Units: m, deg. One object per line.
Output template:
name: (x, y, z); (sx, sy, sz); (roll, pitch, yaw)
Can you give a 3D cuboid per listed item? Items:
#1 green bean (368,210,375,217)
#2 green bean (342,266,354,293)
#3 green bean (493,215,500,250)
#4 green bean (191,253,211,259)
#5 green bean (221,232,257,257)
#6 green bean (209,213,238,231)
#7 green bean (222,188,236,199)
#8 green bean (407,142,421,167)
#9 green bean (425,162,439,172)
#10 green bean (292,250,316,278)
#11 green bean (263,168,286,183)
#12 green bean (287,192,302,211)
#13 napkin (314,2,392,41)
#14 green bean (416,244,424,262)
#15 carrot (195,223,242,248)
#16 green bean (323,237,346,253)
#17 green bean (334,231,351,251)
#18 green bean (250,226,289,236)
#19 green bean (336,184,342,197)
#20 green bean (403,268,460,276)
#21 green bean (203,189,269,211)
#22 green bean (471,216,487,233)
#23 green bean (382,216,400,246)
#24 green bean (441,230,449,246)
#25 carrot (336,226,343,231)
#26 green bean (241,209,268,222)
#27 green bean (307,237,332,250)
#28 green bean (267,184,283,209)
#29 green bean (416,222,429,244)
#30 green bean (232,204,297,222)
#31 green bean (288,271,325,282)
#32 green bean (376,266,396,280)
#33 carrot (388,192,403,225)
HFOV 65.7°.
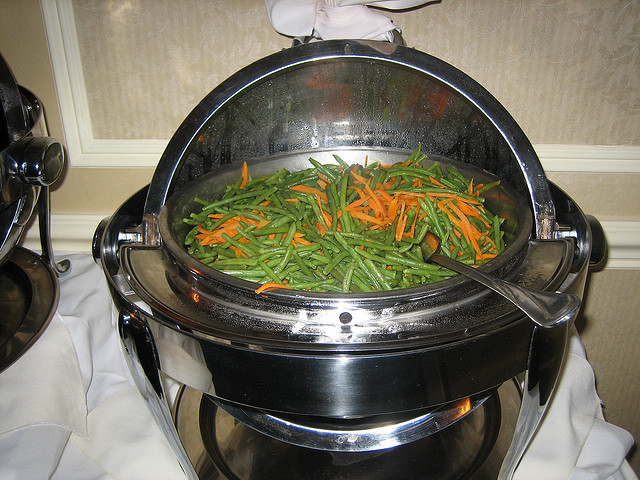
green bean: (0.106, -0.053, 1.007); (0.013, 0.011, 0.004); (-14, -6, -40)
green bean: (0.049, 0.069, 0.865); (0.012, 0.012, 0.052); (35, 47, -16)
green bean: (0.349, -0.015, 0.980); (0.010, 0.070, 0.006); (-9, -17, 27)
green bean: (-0.231, 0.030, 0.963); (0.037, 0.007, 0.024); (-4, 19, -13)
green bean: (-0.158, 0.011, 0.957); (0.060, 0.013, 0.014); (36, 1, 25)
green bean: (-0.196, -0.040, 1.004); (0.013, 0.020, 0.069); (38, 53, 17)
green bean: (-0.196, -0.098, 1.061); (0.006, 0.010, 0.040); (-26, 13, 26)
green bean: (0.220, -0.197, 1.149); (0.012, 0.077, 0.011); (19, -16, 45)
green bean: (0.254, -0.165, 1.120); (0.010, 0.011, 0.041); (32, 74, 16)
green bean: (-0.030, 0.045, 0.914); (0.007, 0.012, 0.057); (-8, 58, -56)
green bean: (-0.101, -0.143, 1.114); (0.063, 0.016, 0.010); (-39, 21, -31)
green bean: (-0.053, -0.085, 1.044); (0.013, 0.012, 0.055); (-19, 71, 1)
napkin: (0.074, -0.505, 1.145); (0.170, 0.074, 0.038); (0, 18, 0)
green bean: (0.187, 0.023, 0.926); (0.008, 0.007, 0.030); (5, 41, -11)
carrot: (-0.198, -0.012, 0.974); (0.048, 0.028, 0.073); (31, -24, -26)
green bean: (0.029, 0.007, 0.937); (0.055, 0.011, 0.015); (49, 18, 24)
green bean: (0.043, 0.002, 0.930); (0.013, 0.013, 0.048); (9, 31, -28)
green bean: (-0.101, -0.018, 0.982); (0.061, 0.017, 0.013); (-6, -1, 1)
green bean: (0.042, -0.107, 1.062); (0.004, 0.021, 0.019); (5, 13, -12)
green bean: (0.199, 0.056, 0.880); (0.098, 0.016, 0.015); (1, 1, 1)
green bean: (-0.178, -0.083, 1.052); (0.111, 0.016, 0.015); (-19, 19, -29)
green bean: (0.321, -0.031, 1.001); (0.015, 0.013, 0.058); (-20, 41, 7)
green bean: (0.139, -0.013, 0.947); (0.013, 0.013, 0.088); (34, 41, -12)
green bean: (0.241, -0.005, 0.954); (0.009, 0.008, 0.038); (41, 47, -3)
carrot: (0.040, -0.022, 0.985); (0.013, 0.006, 0.021); (3, 19, 9)
green bean: (-0.136, -0.050, 1.020); (0.046, 0.011, 0.011); (19, 14, 11)
green bean: (-0.004, -0.007, 0.970); (0.020, 0.018, 0.069); (-29, 37, -25)
green bean: (-0.101, -0.098, 1.069); (0.010, 0.020, 0.083); (-7, 45, -24)
green bean: (0.202, -0.014, 0.964); (0.012, 0.011, 0.043); (10, 58, 38)
green bean: (-0.113, -0.054, 1.022); (0.109, 0.021, 0.016); (8, 36, 18)
green bean: (-0.026, 0.067, 0.898); (0.041, 0.006, 0.010); (12, 65, 7)
green bean: (0.119, 0.060, 0.892); (0.029, 0.006, 0.008); (31, -2, 11)
carrot: (0.161, -0.064, 1.020); (0.018, 0.020, 0.075); (31, 55, -12)
